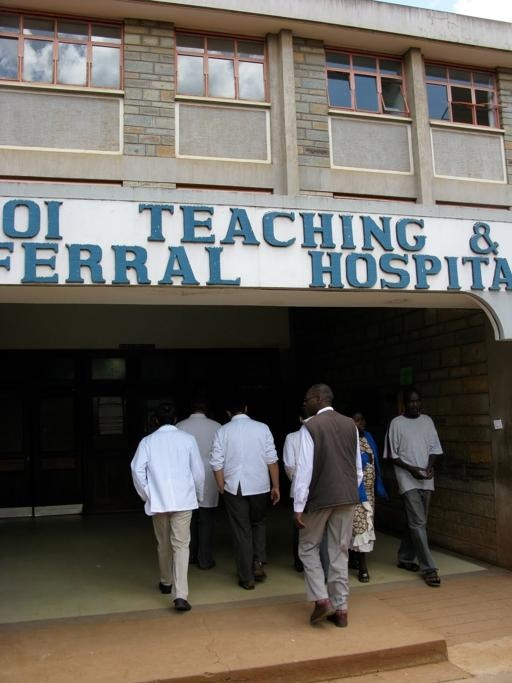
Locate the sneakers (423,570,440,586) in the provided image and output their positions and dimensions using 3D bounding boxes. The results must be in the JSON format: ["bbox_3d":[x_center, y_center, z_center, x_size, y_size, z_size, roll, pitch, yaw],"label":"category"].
[{"bbox_3d":[1.527,2.049,5.500,0.139,0.092,0.177,-5,-3,13],"label":"sneakers"}]

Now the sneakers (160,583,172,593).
[{"bbox_3d":[-0.752,2.065,5.339,0.056,0.069,0.169,4,-5,-10],"label":"sneakers"}]

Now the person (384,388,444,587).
[{"bbox_3d":[1.425,1.298,5.788,0.524,1.186,0.583,-5,-3,19],"label":"person"}]

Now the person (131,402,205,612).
[{"bbox_3d":[-0.649,1.250,4.918,0.512,1.537,0.523,-5,-3,7],"label":"person"}]

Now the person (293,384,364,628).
[{"bbox_3d":[0.508,1.123,4.374,0.556,1.647,0.338,-3,-4,-27],"label":"person"}]

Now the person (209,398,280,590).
[{"bbox_3d":[-0.089,1.304,5.553,0.570,1.627,0.505,-4,-3,-4],"label":"person"}]
